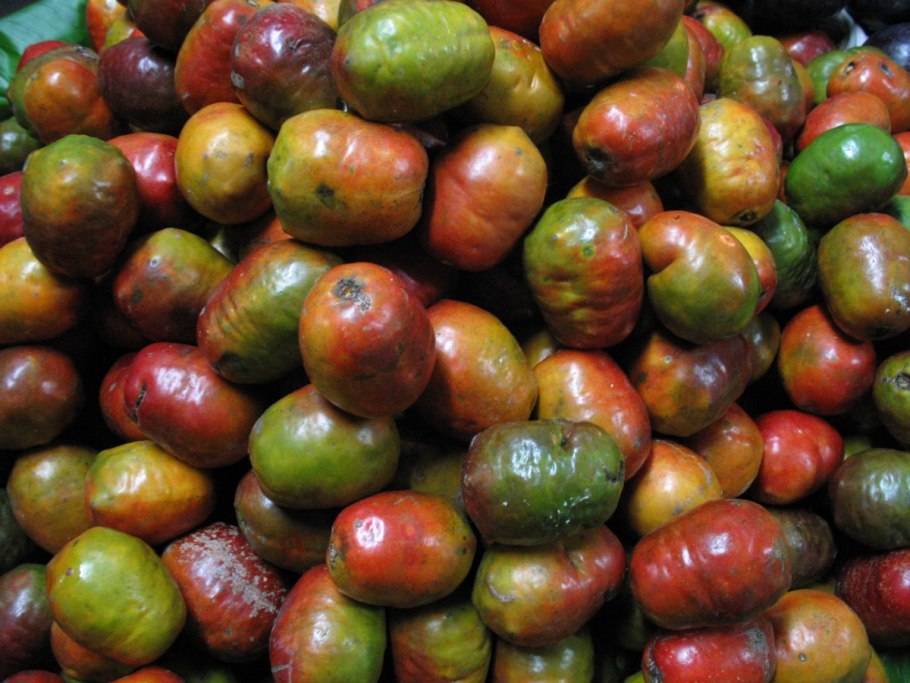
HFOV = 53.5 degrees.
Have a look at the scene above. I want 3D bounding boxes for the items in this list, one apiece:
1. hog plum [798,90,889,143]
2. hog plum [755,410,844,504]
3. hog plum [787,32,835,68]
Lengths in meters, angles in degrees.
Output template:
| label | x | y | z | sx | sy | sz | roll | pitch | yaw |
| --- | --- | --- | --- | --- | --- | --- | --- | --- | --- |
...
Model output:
| label | x | y | z | sx | sy | sz | roll | pitch | yaw |
| --- | --- | --- | --- | --- | --- | --- | --- | --- | --- |
| hog plum | 1.230 | -0.719 | 2.848 | 0.227 | 0.134 | 0.188 | -33 | 114 | -7 |
| hog plum | 1.017 | 0.338 | 2.711 | 0.233 | 0.247 | 0.273 | 10 | 73 | 28 |
| hog plum | 1.300 | -1.071 | 3.300 | 0.128 | 0.153 | 0.094 | 6 | 82 | -31 |
